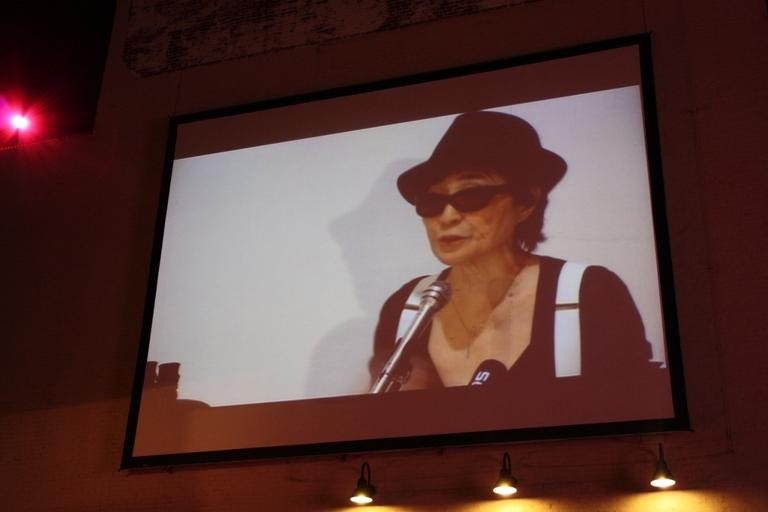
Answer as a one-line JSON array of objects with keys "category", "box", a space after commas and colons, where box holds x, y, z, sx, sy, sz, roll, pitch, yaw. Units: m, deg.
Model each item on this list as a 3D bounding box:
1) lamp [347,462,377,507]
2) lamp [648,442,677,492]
[{"category": "lamp", "box": [-0.117, 1.270, 4.323, 0.144, 0.237, 0.204, 3, -20, 0]}, {"category": "lamp", "box": [1.471, 1.107, 4.092, 0.135, 0.235, 0.222, -4, -21, 18]}]
